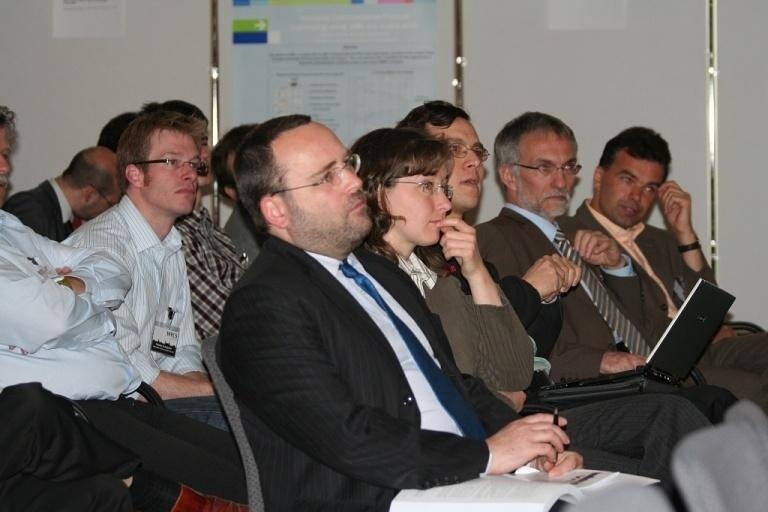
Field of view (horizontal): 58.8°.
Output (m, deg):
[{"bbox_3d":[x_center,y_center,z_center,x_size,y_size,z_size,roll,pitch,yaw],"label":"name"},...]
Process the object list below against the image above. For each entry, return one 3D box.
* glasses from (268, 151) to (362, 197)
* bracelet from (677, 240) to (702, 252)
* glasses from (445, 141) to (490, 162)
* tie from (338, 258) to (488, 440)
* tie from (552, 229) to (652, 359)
[{"bbox_3d":[-0.229,-0.312,2.642,0.214,0.066,0.210,-20,1,18],"label":"glasses"},{"bbox_3d":[2.084,-0.066,4.623,0.093,0.036,0.098,-20,-4,26],"label":"bracelet"},{"bbox_3d":[0.476,-0.580,3.635,0.197,0.067,0.200,7,-18,-31],"label":"glasses"},{"bbox_3d":[0.108,0.380,2.629,0.220,0.764,0.103,-45,-15,33],"label":"tie"},{"bbox_3d":[1.197,0.258,3.782,0.159,1.049,0.177,-35,25,23],"label":"tie"}]
